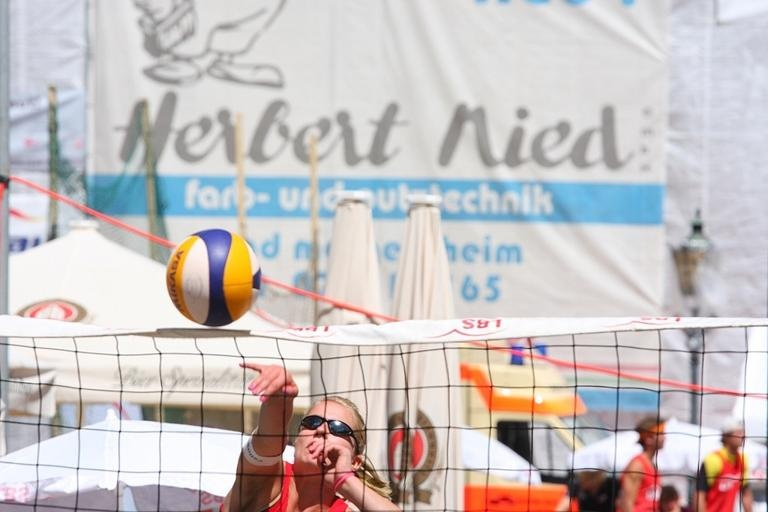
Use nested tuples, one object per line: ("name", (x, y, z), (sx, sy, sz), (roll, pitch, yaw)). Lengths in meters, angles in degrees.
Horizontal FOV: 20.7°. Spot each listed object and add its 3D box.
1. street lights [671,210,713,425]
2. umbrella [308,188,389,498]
("street lights", (3.190, 0.594, 21.993), (0.379, 2.253, 0.329), (1, 7, 3))
("umbrella", (-0.367, 0.706, 21.064), (0.869, 2.671, 0.756), (-1, -6, 4))
